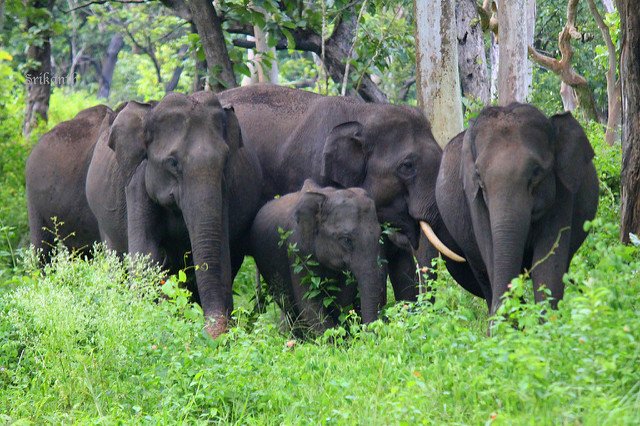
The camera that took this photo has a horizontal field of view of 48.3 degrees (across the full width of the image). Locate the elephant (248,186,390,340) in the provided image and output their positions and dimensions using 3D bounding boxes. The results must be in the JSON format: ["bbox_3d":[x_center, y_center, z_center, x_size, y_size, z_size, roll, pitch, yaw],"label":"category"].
[{"bbox_3d":[-0.084,0.462,6.248,0.740,1.386,1.659,-2,4,-38],"label":"elephant"}]

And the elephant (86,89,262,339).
[{"bbox_3d":[-1.081,-0.072,6.491,1.434,1.943,1.956,-7,5,-42],"label":"elephant"}]

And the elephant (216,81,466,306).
[{"bbox_3d":[0.116,-0.260,7.332,2.992,1.903,1.350,13,28,33],"label":"elephant"}]

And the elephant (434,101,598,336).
[{"bbox_3d":[1.703,-0.044,5.979,1.124,1.732,1.074,-4,4,-14],"label":"elephant"}]
